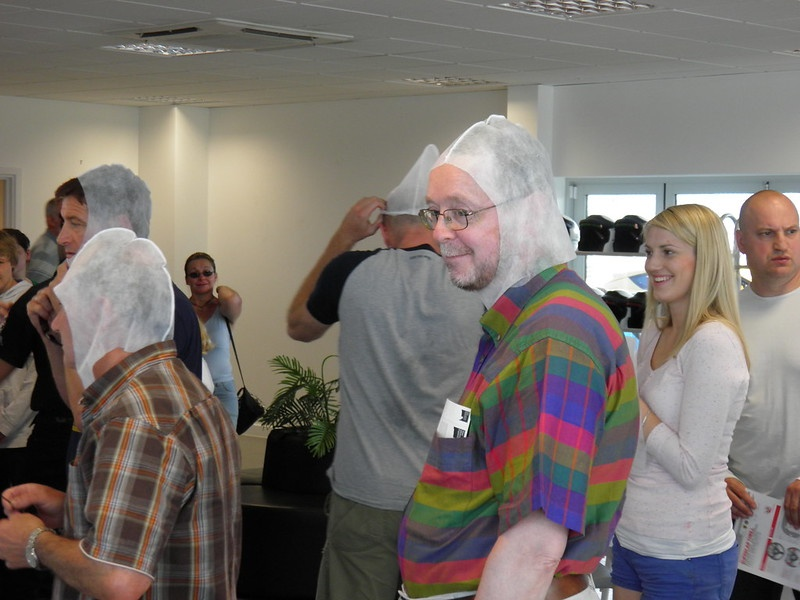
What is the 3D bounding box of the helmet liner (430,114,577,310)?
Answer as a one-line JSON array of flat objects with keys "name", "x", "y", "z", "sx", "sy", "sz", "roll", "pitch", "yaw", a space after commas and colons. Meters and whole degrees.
[{"name": "helmet liner", "x": 0.246, "y": -0.185, "z": 1.543, "sx": 0.368, "sy": 0.500, "sz": 0.371, "roll": -1, "pitch": -4, "yaw": -14}]
